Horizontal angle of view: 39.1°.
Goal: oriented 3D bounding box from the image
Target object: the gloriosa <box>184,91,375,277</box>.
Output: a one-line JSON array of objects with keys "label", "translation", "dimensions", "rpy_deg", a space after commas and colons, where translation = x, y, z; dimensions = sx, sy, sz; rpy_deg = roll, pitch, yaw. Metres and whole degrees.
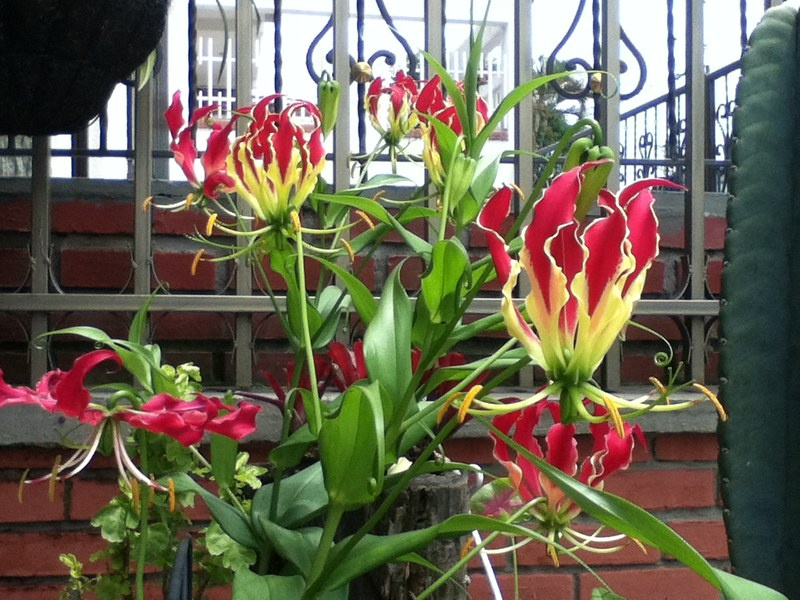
[{"label": "gloriosa", "translation": [-0.203, -0.173, 1.661], "dimensions": [0.256, 0.276, 0.284], "rpy_deg": [-1, 1, -22]}]

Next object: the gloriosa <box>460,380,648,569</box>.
[{"label": "gloriosa", "translation": [0.233, 0.242, 1.603], "dimensions": [0.232, 0.286, 0.270], "rpy_deg": [4, -4, 28]}]

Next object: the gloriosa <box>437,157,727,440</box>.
[{"label": "gloriosa", "translation": [0.218, 0.012, 1.562], "dimensions": [0.327, 0.363, 0.328], "rpy_deg": [3, -2, -24]}]

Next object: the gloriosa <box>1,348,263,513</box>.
[{"label": "gloriosa", "translation": [-0.360, 0.162, 1.528], "dimensions": [0.336, 0.196, 0.168], "rpy_deg": [-1, 1, -8]}]
